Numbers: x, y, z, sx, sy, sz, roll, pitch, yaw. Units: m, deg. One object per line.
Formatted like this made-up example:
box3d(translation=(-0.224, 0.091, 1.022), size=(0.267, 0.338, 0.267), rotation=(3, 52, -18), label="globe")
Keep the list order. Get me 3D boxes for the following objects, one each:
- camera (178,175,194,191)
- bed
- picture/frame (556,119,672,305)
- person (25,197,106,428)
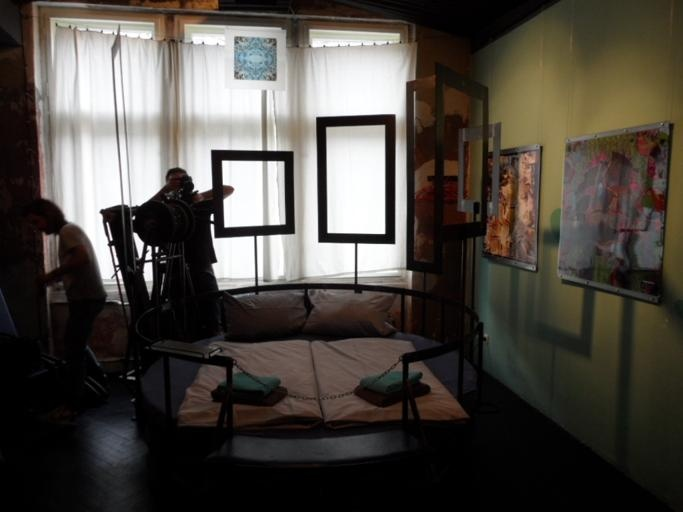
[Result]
box3d(translation=(-1.304, -0.613, 5.025), size=(0.104, 0.150, 0.150), rotation=(-1, 11, 1), label="camera")
box3d(translation=(-0.222, 1.129, 3.918), size=(1.434, 0.577, 1.498), rotation=(-1, 10, -4), label="bed")
box3d(translation=(1.855, -0.320, 3.979), size=(0.131, 1.137, 0.807), rotation=(-7, 15, -28), label="picture/frame")
box3d(translation=(-2.167, 0.417, 4.738), size=(0.516, 1.692, 0.698), rotation=(-7, 14, -26), label="person")
